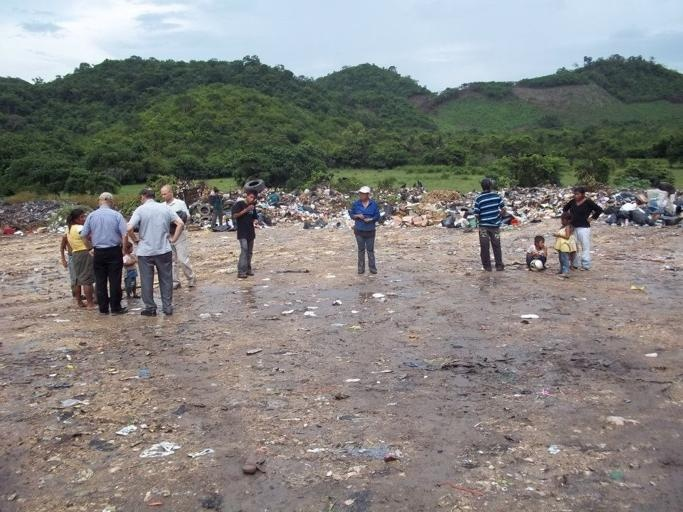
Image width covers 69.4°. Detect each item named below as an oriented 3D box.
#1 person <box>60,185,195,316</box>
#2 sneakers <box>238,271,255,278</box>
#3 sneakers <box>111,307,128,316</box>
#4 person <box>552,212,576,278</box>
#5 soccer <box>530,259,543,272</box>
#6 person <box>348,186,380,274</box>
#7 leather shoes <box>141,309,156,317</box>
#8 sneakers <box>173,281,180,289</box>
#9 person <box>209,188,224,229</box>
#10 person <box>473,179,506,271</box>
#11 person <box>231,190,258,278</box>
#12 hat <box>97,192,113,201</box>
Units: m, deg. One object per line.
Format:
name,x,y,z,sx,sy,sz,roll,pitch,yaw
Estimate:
person,-3.051,-0.072,7.331,1.216,1.856,0.726,-3,8,3
sneakers,-1.864,0.368,9.536,0.347,0.127,0.107,-19,-2,37
sneakers,-3.263,0.820,7.303,0.210,0.072,0.080,-6,-4,28
person,4.135,-0.240,9.117,0.350,1.102,0.917,0,8,24
soccer,3.673,0.162,9.294,0.228,0.215,0.145,0,9,22
person,0.477,-0.563,10.002,0.561,1.701,1.500,-4,8,2
leather shoes,-2.795,0.816,7.130,0.223,0.076,0.093,7,10,30
sneakers,-2.895,0.518,8.683,0.126,0.074,0.111,2,11,1
person,-4.341,-1.623,17.157,0.450,1.224,1.666,-6,8,-14
person,2.921,-0.634,9.688,0.529,1.774,1.038,-2,8,16
person,-1.856,-0.458,9.727,0.538,1.677,1.144,-6,8,-11
hat,-3.490,-0.876,7.319,0.221,0.093,0.268,-2,6,-18
